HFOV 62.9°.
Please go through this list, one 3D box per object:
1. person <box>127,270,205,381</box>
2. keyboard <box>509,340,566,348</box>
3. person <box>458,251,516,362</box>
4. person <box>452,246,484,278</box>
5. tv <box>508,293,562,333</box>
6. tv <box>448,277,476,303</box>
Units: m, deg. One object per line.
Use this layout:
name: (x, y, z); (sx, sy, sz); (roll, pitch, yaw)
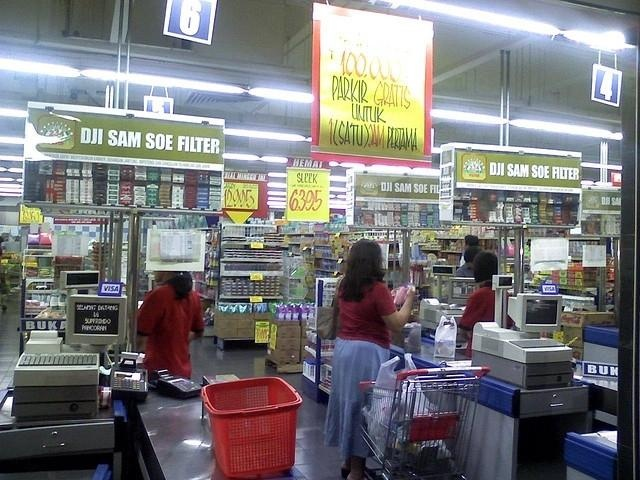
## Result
person: (-1.422, 0.821, 5.004); (0.490, 1.028, 0.585); (0, 0, 2)
keyboard: (1.821, 0.860, 4.358); (0.509, 0.071, 0.102); (0, 0, -17)
person: (1.727, 0.640, 5.449); (0.508, 0.900, 0.852); (0, 0, 22)
person: (2.479, 0.363, 8.815); (0.348, 0.827, 0.287); (11, 26, 20)
tv: (1.813, 0.585, 4.492); (0.429, 0.402, 0.315); (0, -1, -14)
tv: (2.287, 0.805, 8.727); (0.546, 0.568, 0.416); (0, -3, -3)
